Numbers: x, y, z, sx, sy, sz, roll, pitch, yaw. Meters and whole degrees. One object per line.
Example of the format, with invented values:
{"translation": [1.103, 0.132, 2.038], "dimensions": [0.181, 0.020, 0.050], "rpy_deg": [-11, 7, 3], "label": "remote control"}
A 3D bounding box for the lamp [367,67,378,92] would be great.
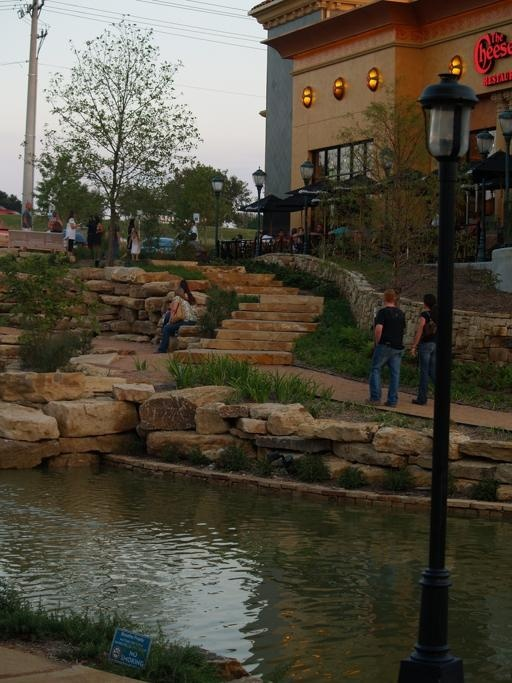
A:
{"translation": [4.427, -9.943, 33.304], "dimensions": [0.212, 0.917, 0.698], "rpy_deg": [-1, 3, -33], "label": "lamp"}

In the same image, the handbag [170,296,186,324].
{"translation": [-1.743, -0.748, 20.526], "dimensions": [0.488, 0.908, 0.731], "rpy_deg": [-1, 3, -7], "label": "handbag"}

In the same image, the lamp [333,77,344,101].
{"translation": [3.342, -10.179, 35.355], "dimensions": [0.237, 0.926, 0.813], "rpy_deg": [0, 2, -20], "label": "lamp"}

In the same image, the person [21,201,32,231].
{"translation": [-8.500, -4.688, 32.761], "dimensions": [0.333, 0.927, 1.777], "rpy_deg": [0, 2, -16], "label": "person"}

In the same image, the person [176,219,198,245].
{"translation": [-2.423, -3.824, 31.394], "dimensions": [0.528, 0.823, 1.585], "rpy_deg": [2, 4, 3], "label": "person"}

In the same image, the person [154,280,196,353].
{"translation": [-1.871, -0.593, 20.680], "dimensions": [1.008, 1.699, 0.834], "rpy_deg": [0, 3, -24], "label": "person"}

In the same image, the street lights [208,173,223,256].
{"translation": [-1.483, -4.892, 34.197], "dimensions": [0.576, 3.085, 0.554], "rpy_deg": [9, 13, 37], "label": "street lights"}

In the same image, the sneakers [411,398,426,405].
{"translation": [2.607, 0.951, 14.039], "dimensions": [0.077, 0.091, 0.218], "rpy_deg": [-4, 11, -26], "label": "sneakers"}
